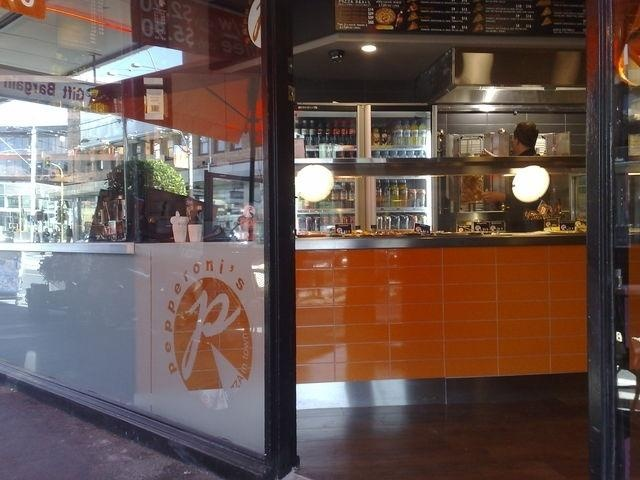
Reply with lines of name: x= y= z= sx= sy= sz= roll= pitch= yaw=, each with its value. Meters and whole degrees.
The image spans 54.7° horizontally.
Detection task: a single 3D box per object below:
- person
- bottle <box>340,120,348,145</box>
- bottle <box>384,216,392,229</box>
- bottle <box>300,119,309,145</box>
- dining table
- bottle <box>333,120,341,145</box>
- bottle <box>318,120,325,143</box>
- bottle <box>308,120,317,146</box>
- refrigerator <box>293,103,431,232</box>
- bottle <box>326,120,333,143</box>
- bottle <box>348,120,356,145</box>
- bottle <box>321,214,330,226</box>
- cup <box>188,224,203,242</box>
person: x=1.923 y=-0.619 z=6.282 sx=0.584 sy=1.075 sz=2.002 roll=1 pitch=2 yaw=18
bottle: x=0.284 y=-1.247 z=7.107 sx=0.122 sy=0.279 sz=0.051 roll=0 pitch=1 yaw=2
bottle: x=0.785 y=-0.203 z=7.180 sx=0.110 sy=0.224 sz=0.117 roll=1 pitch=-6 yaw=0
bottle: x=-0.184 y=-1.241 z=7.073 sx=0.109 sy=0.297 sz=0.079 roll=0 pitch=1 yaw=-1
dining table: x=0.969 y=0.322 z=5.429 sx=2.426 sy=1.289 sz=1.346 roll=-2 pitch=19 yaw=1
bottle: x=0.186 y=-1.239 z=7.104 sx=0.087 sy=0.264 sz=0.046 roll=0 pitch=1 yaw=1
bottle: x=0.014 y=-1.251 z=7.111 sx=0.087 sy=0.247 sz=0.073 roll=0 pitch=1 yaw=-1
bottle: x=-0.083 y=-1.238 z=7.094 sx=0.100 sy=0.282 sz=0.070 roll=0 pitch=1 yaw=-7
refrigerator: x=0.420 y=-0.805 z=6.642 sx=1.325 sy=1.408 sz=0.457 roll=0 pitch=-3 yaw=-2
bottle: x=0.103 y=-1.244 z=7.111 sx=0.080 sy=0.231 sz=0.061 roll=0 pitch=1 yaw=1
bottle: x=0.360 y=-1.240 z=7.105 sx=0.115 sy=0.309 sz=0.068 roll=0 pitch=1 yaw=4
bottle: x=0.052 y=-0.230 z=7.171 sx=0.110 sy=0.132 sz=0.114 roll=1 pitch=0 yaw=37
cup: x=-0.780 y=-0.046 z=3.843 sx=0.099 sy=0.129 sz=0.097 roll=1 pitch=5 yaw=0
